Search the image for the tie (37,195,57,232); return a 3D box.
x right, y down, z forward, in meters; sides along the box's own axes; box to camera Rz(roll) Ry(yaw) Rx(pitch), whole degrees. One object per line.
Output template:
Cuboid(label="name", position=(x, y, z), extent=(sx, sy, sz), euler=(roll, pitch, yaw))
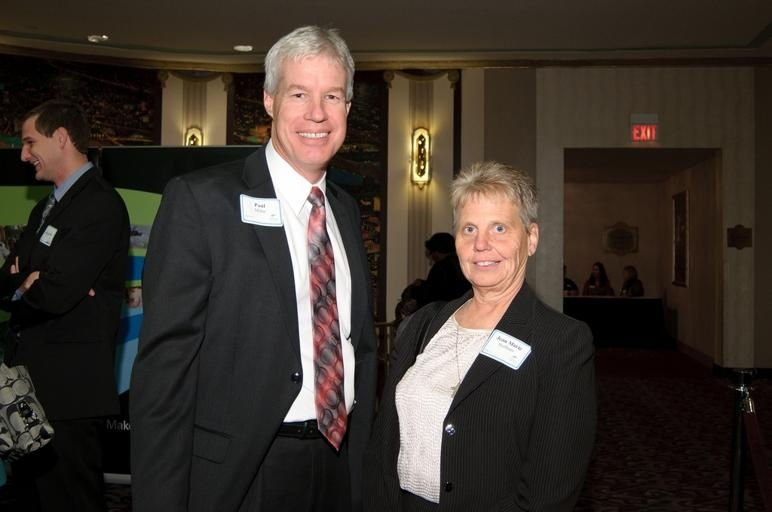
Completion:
Cuboid(label="tie", position=(-2.188, -0.261, 3.828), extent=(0.056, 0.318, 0.035), euler=(29, 32, -15))
